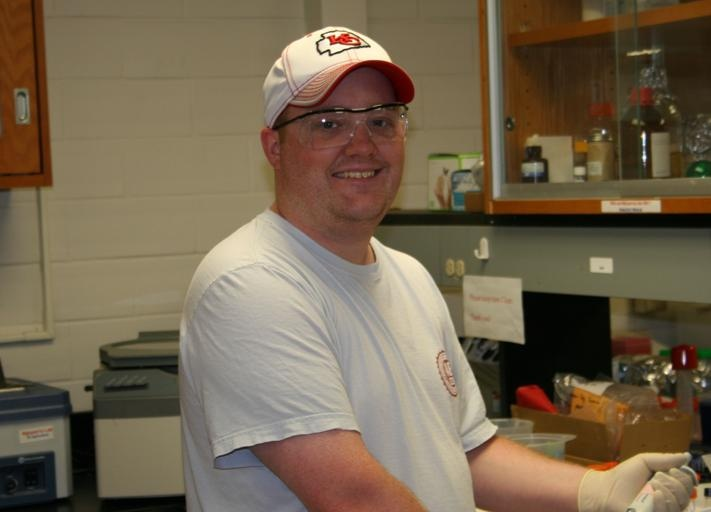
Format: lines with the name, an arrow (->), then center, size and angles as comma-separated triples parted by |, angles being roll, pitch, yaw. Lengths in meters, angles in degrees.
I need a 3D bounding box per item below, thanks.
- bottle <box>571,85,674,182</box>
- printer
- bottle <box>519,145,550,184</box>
bottle -> 0.763, -0.338, 2.164 | 0.108, 0.273, 0.261 | -2, 3, -40
printer -> -0.682, 0.497, 2.772 | 0.507, 0.625, 0.400 | -1, -3, -6
bottle -> 0.548, -0.274, 2.359 | 0.074, 0.129, 0.062 | -1, -4, 15
